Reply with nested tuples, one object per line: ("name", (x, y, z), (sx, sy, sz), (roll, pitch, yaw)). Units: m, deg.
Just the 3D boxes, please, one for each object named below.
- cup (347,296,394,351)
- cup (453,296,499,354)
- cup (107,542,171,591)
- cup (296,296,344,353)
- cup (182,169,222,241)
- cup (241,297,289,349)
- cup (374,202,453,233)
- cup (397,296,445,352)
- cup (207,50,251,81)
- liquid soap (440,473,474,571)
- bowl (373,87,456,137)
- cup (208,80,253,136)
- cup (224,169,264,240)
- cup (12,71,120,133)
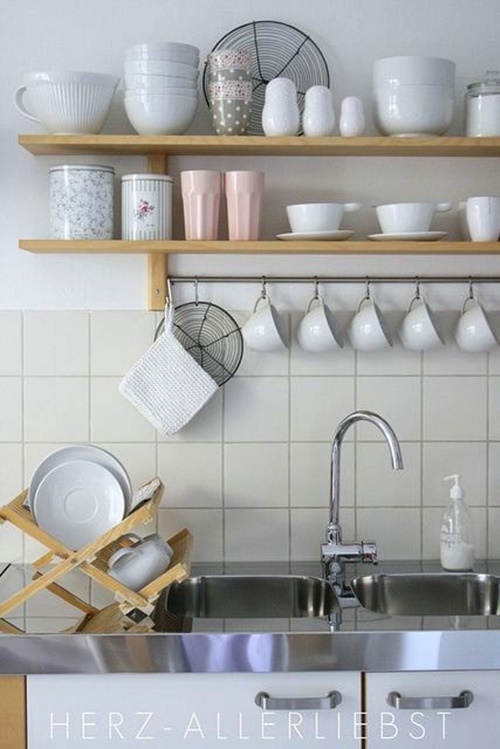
("cup", (0.250, -0.110, 1.600), (0.062, 0.108, 0.079), (-3, -17, 2))
("cup", (0.470, -0.105, 1.622), (0.077, 0.101, 0.086), (7, -6, 7))
("cup", (-0.201, 0.341, 1.398), (0.110, 0.059, 0.095), (-1, 3, 10))
("cup", (0.149, -0.103, 1.586), (0.079, 0.102, 0.087), (-1, -1, 13))
("cup", (-0.099, -0.337, 1.550), (0.081, 0.141, 0.074), (0, -7, 0))
("cup", (0.035, -0.098, 1.605), (0.073, 0.095, 0.080), (0, -6, 0))
("cup", (0.335, -0.307, 1.552), (0.107, 0.038, 0.084), (-1, 0, -3))
("cup", (0.353, -0.097, 1.618), (0.079, 0.103, 0.086), (14, -12, 3))
("cup", (-0.039, -0.613, 1.513), (0.073, 0.041, 0.070), (0, 3, 0))
("liquid soap", (0.432, 0.313, 1.603), (0.066, 0.198, 0.069), (-2, -7, 13))
("bowl", (0.339, -0.537, 1.583), (0.176, 0.099, 0.157), (2, 5, 4))
("cup", (-0.037, -0.538, 1.587), (0.107, 0.111, 0.102), (1, 0, 0))
("cup", (-0.013, -0.339, 1.541), (0.076, 0.134, 0.059), (0, -7, -2))
("cup", (-0.376, -0.515, 1.535), (0.166, 0.075, 0.145), (0, 1, 27))
